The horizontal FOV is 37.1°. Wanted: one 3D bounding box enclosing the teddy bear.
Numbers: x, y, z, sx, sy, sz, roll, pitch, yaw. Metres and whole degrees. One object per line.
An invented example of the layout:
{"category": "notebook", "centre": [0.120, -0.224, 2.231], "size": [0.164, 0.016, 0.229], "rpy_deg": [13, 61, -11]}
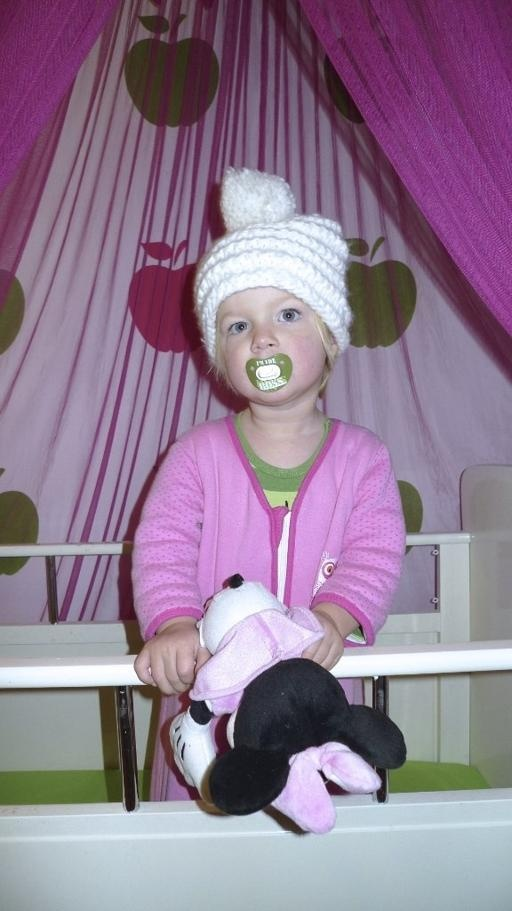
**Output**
{"category": "teddy bear", "centre": [0.019, 0.213, 0.640], "size": [0.165, 0.105, 0.254], "rpy_deg": [-11, 33, -16]}

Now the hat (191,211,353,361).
{"category": "hat", "centre": [0.028, -0.244, 1.056], "size": [0.141, 0.159, 0.197], "rpy_deg": [0, -27, 7]}
